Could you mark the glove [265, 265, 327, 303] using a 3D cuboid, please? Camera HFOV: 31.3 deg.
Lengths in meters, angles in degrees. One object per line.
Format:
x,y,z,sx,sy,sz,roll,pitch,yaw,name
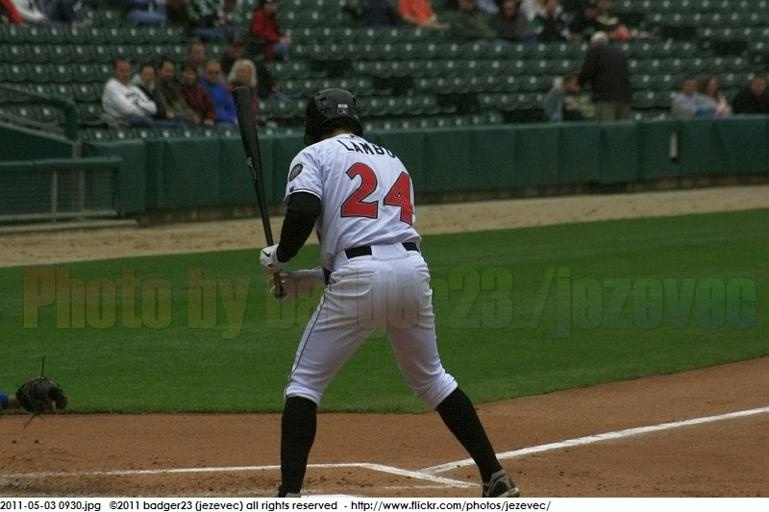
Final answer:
-0.714,0.225,11.221,0.468,0.221,0.090,-7,5,0,glove
